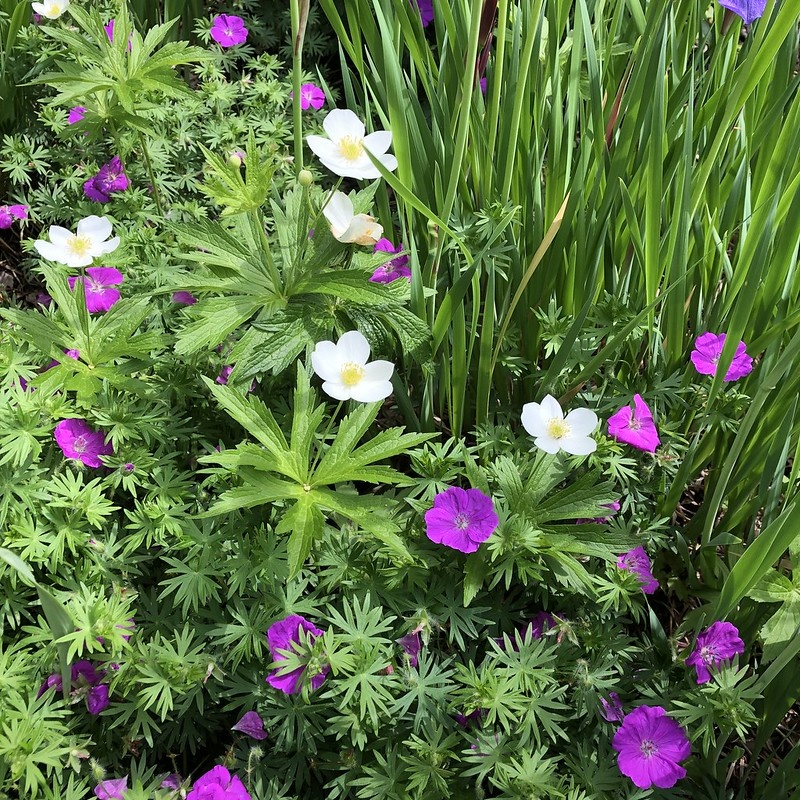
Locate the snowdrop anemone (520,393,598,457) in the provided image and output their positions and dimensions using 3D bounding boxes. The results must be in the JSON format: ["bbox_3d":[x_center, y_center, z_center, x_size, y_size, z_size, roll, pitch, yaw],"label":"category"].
[{"bbox_3d":[0.354,0.064,1.707,0.138,0.054,0.147,40,47,11],"label":"snowdrop anemone"}]

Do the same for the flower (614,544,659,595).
[{"bbox_3d":[0.564,0.420,1.841,0.113,0.054,0.117,42,47,-22],"label":"flower"}]

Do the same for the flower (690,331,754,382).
[{"bbox_3d":[0.802,-0.098,1.887,0.115,0.050,0.133,27,81,21],"label":"flower"}]

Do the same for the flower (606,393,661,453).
[{"bbox_3d":[0.561,0.061,1.822,0.111,0.036,0.148,1,73,-12],"label":"flower"}]
